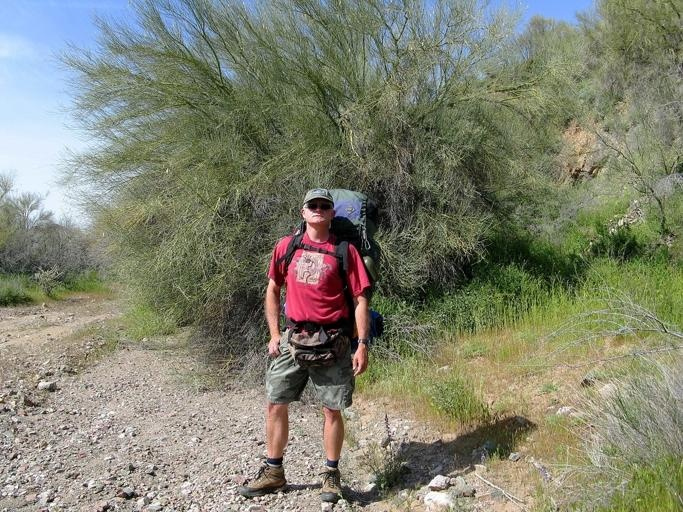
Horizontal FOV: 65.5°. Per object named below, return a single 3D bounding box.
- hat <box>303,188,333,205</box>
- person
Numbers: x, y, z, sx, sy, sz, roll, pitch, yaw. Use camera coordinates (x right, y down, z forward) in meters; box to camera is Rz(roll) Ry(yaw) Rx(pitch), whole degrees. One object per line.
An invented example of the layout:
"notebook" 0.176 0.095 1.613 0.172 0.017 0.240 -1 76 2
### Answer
"hat" -0.203 -0.554 4.889 0.250 0.134 0.248 -2 8 2
"person" -0.269 0.812 4.910 1.096 2.830 0.490 -2 7 3
